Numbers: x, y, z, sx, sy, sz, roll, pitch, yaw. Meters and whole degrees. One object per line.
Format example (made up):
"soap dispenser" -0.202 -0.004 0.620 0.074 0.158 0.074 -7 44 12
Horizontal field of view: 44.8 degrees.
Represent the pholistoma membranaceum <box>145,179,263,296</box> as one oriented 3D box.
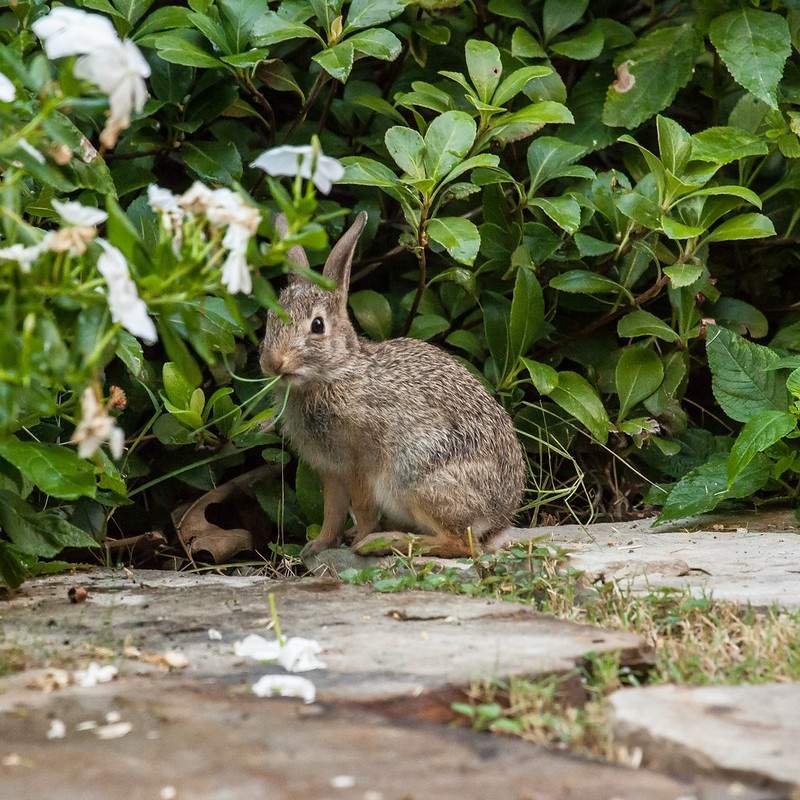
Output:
"pholistoma membranaceum" -0.351 -0.311 1.900 0.180 0.224 0.239 11 14 36
